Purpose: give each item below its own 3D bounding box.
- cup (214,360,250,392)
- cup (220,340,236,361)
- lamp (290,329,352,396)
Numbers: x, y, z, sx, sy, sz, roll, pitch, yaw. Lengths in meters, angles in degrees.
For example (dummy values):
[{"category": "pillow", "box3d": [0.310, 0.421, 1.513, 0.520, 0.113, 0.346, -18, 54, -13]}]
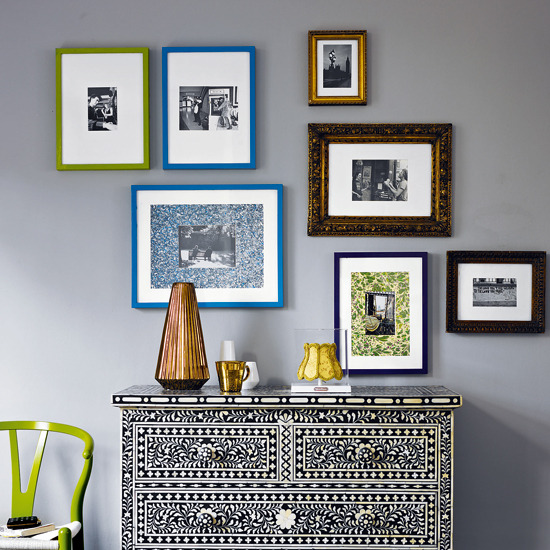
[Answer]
[{"category": "cup", "box3d": [-0.154, 0.371, 3.581, 0.109, 0.096, 0.080, 8, -12, -40]}, {"category": "cup", "box3d": [-0.176, 0.290, 3.707, 0.053, 0.096, 0.060, -1, -3, 29]}, {"category": "lamp", "box3d": [0.177, 0.325, 3.630, 0.180, 0.296, 0.223, 0, -3, 2]}]
